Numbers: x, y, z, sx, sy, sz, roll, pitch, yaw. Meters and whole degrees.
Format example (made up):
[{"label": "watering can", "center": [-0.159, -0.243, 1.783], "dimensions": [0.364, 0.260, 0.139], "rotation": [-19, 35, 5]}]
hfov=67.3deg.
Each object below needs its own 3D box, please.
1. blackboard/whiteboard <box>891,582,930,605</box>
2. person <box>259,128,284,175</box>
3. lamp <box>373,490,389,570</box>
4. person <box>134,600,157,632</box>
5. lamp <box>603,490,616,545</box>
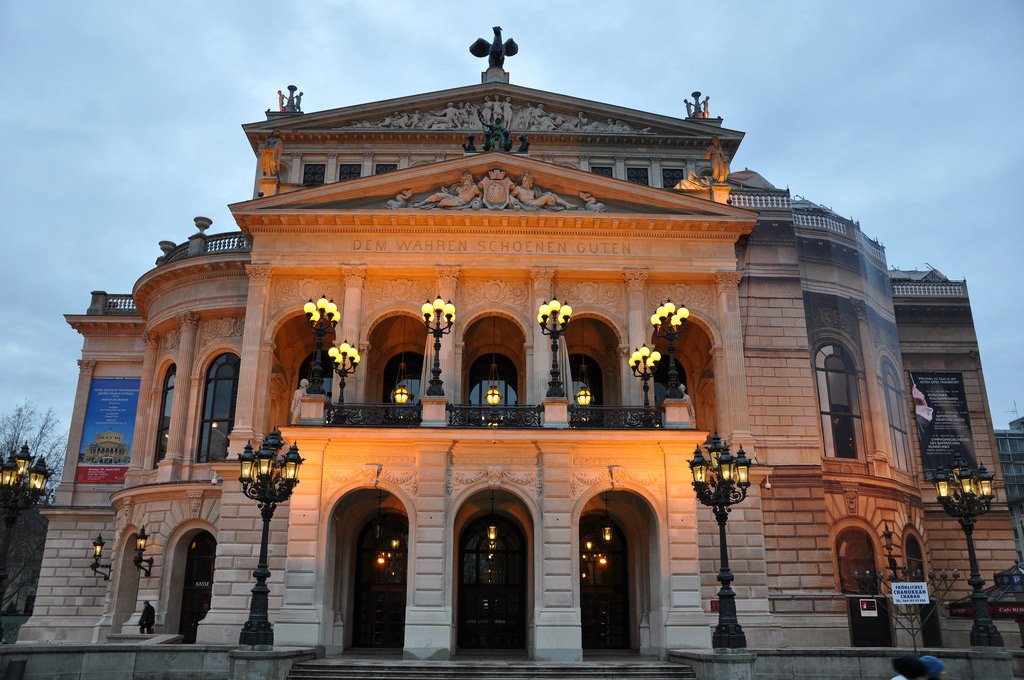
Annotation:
[{"label": "blackboard/whiteboard", "center": [13.321, 8.344, 25.599], "dimensions": [0.886, 0.667, 1.842], "rotation": [-13, -25, 31]}, {"label": "person", "center": [-12.235, -9.382, 39.187], "dimensions": [0.850, 2.734, 1.245], "rotation": [11, -24, -24]}, {"label": "lamp", "center": [-6.108, 9.060, 35.435], "dimensions": [0.770, 2.645, 1.277], "rotation": [0, -22, 2]}, {"label": "person", "center": [-16.642, 12.641, 35.302], "dimensions": [0.715, 1.439, 1.452], "rotation": [10, -23, -22]}, {"label": "lamp", "center": [4.469, 8.464, 35.382], "dimensions": [0.705, 1.474, 1.899], "rotation": [-2, -21, 6]}]
